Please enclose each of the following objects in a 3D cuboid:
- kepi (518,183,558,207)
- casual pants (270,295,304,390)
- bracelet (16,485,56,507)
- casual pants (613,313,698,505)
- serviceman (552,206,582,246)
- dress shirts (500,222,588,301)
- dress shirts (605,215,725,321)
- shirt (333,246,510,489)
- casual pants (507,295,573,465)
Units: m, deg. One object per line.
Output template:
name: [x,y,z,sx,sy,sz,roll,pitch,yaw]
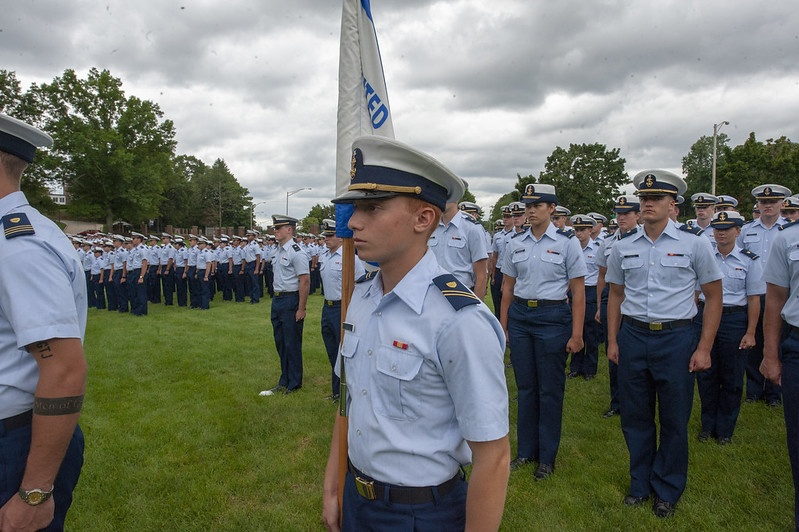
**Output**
kepi: [1.765,-0.884,7.706,0.403,0.185,0.302,1,0,-16]
casual pants: [-1.728,1.162,9.579,0.451,1.435,0.641,-4,14,-13]
bracelet: [-2.842,1.794,4.801,0.167,0.172,0.089,41,10,-33]
casual pants: [2.809,1.557,6.785,0.814,1.892,0.704,5,15,20]
serviceman: [3.150,-0.804,11.320,0.567,0.613,0.483,17,-5,-13]
dress shirts: [1.815,-0.074,7.854,1.178,0.965,0.529,1,1,36]
dress shirts: [2.980,0.048,7.085,1.265,1.178,0.659,-1,-1,36]
shirt: [0.087,0.763,5.054,0.971,1.752,1.914,-6,9,-39]
casual pants: [1.660,1.406,7.490,0.731,1.895,0.791,3,14,14]
